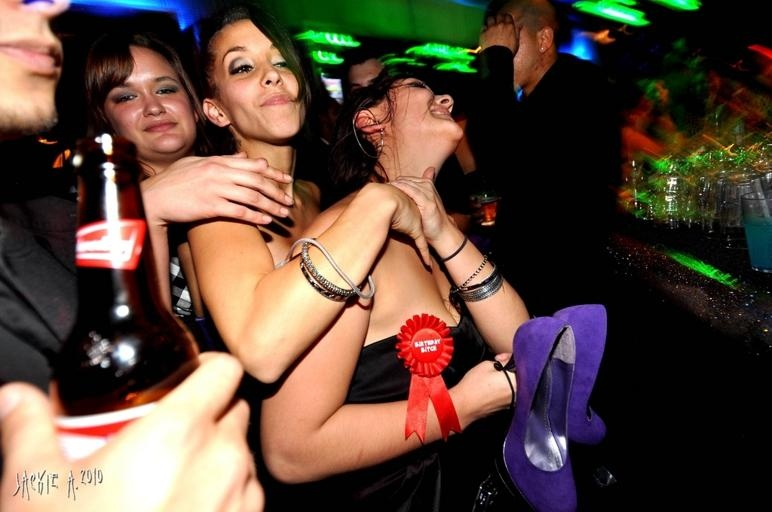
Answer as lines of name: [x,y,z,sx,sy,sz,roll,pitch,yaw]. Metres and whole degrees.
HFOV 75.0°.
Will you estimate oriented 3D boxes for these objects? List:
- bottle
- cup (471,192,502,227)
bottle: [-0.724,0.045,1.320,0.342,0.684,0.299,-13,25,-34]
cup: [0.635,-0.294,3.219,0.186,0.183,0.187,-6,9,1]
